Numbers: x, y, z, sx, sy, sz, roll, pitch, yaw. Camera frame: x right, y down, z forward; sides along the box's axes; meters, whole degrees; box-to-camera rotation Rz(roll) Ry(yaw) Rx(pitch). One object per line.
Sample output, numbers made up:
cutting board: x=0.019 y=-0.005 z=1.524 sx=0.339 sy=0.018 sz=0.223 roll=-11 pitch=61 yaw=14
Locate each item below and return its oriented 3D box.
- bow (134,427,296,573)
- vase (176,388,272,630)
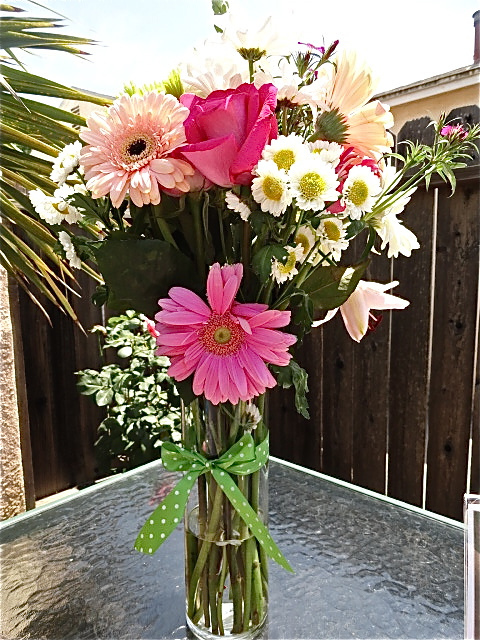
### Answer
bow: x=-0.030 y=0.235 z=0.651 sx=0.237 sy=0.217 sz=0.053 roll=1 pitch=3 yaw=3
vase: x=-0.031 y=0.218 z=0.610 sx=0.141 sy=0.284 sz=0.122 roll=1 pitch=11 yaw=16
